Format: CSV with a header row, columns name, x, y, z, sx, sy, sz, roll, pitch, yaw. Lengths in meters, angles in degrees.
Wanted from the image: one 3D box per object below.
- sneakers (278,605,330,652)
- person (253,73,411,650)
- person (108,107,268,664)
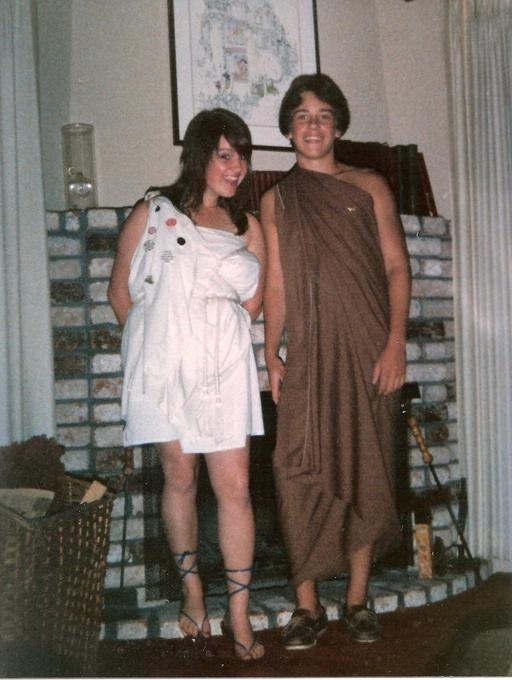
name,x,y,z,sx,sy,sz,roll,pitch,yaw
sneakers,0.105,0.699,1.892,0.058,0.046,0.135,-8,-15,24
person,0.208,0.043,1.956,0.370,1.399,0.206,-4,3,0
person,-0.157,0.098,1.921,0.397,1.295,0.258,-4,3,1
